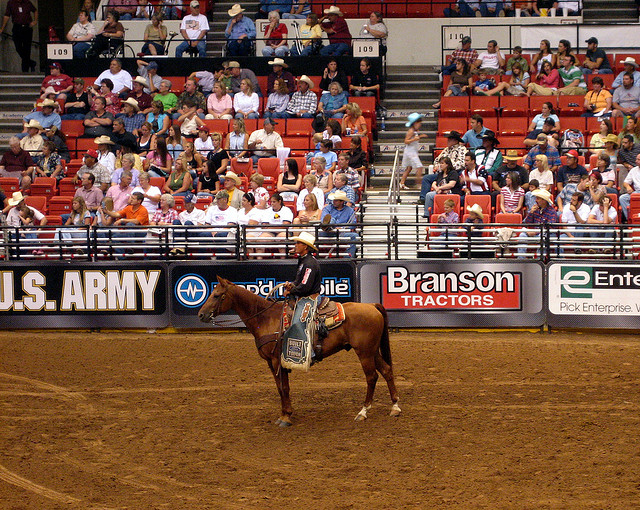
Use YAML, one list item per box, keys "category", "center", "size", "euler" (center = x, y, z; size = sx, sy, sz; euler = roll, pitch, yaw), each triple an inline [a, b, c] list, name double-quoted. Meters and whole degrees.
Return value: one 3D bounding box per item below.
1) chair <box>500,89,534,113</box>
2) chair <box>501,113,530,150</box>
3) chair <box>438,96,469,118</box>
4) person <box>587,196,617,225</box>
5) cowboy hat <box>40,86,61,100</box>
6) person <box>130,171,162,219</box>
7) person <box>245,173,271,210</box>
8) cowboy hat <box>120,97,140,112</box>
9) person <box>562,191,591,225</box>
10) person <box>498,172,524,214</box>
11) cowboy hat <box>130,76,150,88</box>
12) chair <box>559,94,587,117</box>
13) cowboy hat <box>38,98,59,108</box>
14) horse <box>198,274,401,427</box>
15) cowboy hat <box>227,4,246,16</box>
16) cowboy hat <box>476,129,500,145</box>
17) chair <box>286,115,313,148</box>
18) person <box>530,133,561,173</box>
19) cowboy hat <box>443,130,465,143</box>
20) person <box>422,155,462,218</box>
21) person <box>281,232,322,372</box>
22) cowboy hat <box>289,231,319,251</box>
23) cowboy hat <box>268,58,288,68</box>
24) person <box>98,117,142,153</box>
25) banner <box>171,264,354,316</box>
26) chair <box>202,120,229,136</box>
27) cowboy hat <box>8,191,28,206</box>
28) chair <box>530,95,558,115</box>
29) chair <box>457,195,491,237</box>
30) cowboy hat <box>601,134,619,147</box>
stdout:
- category: "chair"
  center: [5.349, -4.037, 44.664]
  size: [0.864, 0.591, 0.471]
  euler: [1, -5, -1]
- category: "chair"
  center: [5.087, -3.059, 43.223]
  size: [0.771, 1.346, 1.065]
  euler: [1, -1, 15]
- category: "chair"
  center: [3.710, -4.015, 44.875]
  size: [0.738, 0.579, 0.714]
  euler: [1, 0, 2]
- category: "person"
  center: [6.752, -0.976, 38.814]
  size: [0.579, 0.814, 0.728]
  euler: [9, -1, 28]
- category: "cowboy hat"
  center: [-7.771, -4.564, 46.434]
  size: [0.462, 0.207, 0.523]
  euler: [-22, 1, 5]
- category: "person"
  center: [-4.317, -1.419, 40.439]
  size: [0.728, 1.100, 1.648]
  euler: [-2, 5, -5]
- category: "person"
  center: [-1.529, -1.501, 39.947]
  size: [0.534, 0.850, 0.847]
  euler: [-2, 5, -2]
- category: "cowboy hat"
  center: [-5.159, -4.045, 44.769]
  size: [0.331, 0.144, 0.395]
  euler: [10, -17, 35]
- category: "person"
  center: [6.156, -1.089, 38.842]
  size: [0.737, 0.691, 0.573]
  euler: [-2, 5, -5]
- category: "person"
  center: [4.680, -1.389, 39.687]
  size: [0.682, 1.124, 0.721]
  euler: [3, 13, 15]
- category: "cowboy hat"
  center: [-4.995, -4.797, 45.573]
  size: [0.318, 0.123, 0.351]
  euler: [11, -17, 23]
- category: "chair"
  center: [6.911, -3.992, 44.441]
  size: [0.602, 0.796, 0.668]
  euler: [0, -5, 4]
- category: "cowboy hat"
  center: [-7.596, -4.138, 45.355]
  size: [0.443, 0.205, 0.509]
  euler: [1, -1, -1]
- category: "horse"
  center: [-0.417, 2.017, 33.967]
  size: [4.171, 3.067, 1.187]
  euler: [-2, -3, -1]
- category: "cowboy hat"
  center: [-2.432, -7.062, 47.867]
  size: [0.355, 0.163, 0.412]
  euler: [27, 52, 33]
- category: "cowboy hat"
  center: [4.287, -2.945, 41.798]
  size: [0.418, 0.198, 0.514]
  euler: [12, -9, 9]
- category: "chair"
  center: [-0.569, -3.193, 43.618]
  size: [0.741, 1.078, 0.812]
  euler: [0, -3, 4]
- category: "person"
  center: [5.749, -2.503, 40.975]
  size: [0.553, 0.958, 0.718]
  euler: [2, 6, 42]
- category: "cowboy hat"
  center: [3.380, -2.963, 41.387]
  size: [0.349, 0.157, 0.407]
  euler: [17, -3, -19]
- category: "person"
  center: [3.025, -1.625, 40.412]
  size: [0.962, 1.437, 0.808]
  euler: [-3, 5, -15]
- category: "person"
  center: [-0.408, 0.989, 33.572]
  size: [0.615, 2.759, 0.789]
  euler: [1, 5, 28]
- category: "cowboy hat"
  center: [-0.314, -0.287, 33.702]
  size: [0.442, 0.167, 0.394]
  euler: [23, -3, -5]
- category: "cowboy hat"
  center: [-1.098, -5.228, 45.265]
  size: [0.340, 0.121, 0.338]
  euler: [17, -7, -37]
- category: "person"
  center: [-5.414, -3.084, 43.539]
  size: [0.767, 1.107, 0.436]
  euler: [-15, -25, 19]
- category: "banner"
  center: [-1.265, 0.839, 38.610]
  size: [5.231, 1.725, 0.063]
  euler: [-1, 42, -2]
- category: "chair"
  center: [-2.792, -3.376, 43.677]
  size: [0.576, 0.524, 0.601]
  euler: [0, -1, 0]
- category: "cowboy hat"
  center: [-7.468, -1.354, 40.091]
  size: [0.310, 0.153, 0.369]
  euler: [-10, 18, 22]
- category: "chair"
  center: [6.152, -4.099, 44.730]
  size: [0.634, 0.644, 0.562]
  euler: [1, -3, 4]
- category: "chair"
  center: [3.863, -0.811, 39.380]
  size: [0.934, 1.255, 1.122]
  euler: [-1, 1, -10]
- category: "cowboy hat"
  center: [7.388, -2.837, 40.999]
  size: [0.357, 0.141, 0.377]
  euler: [7, -4, 28]
